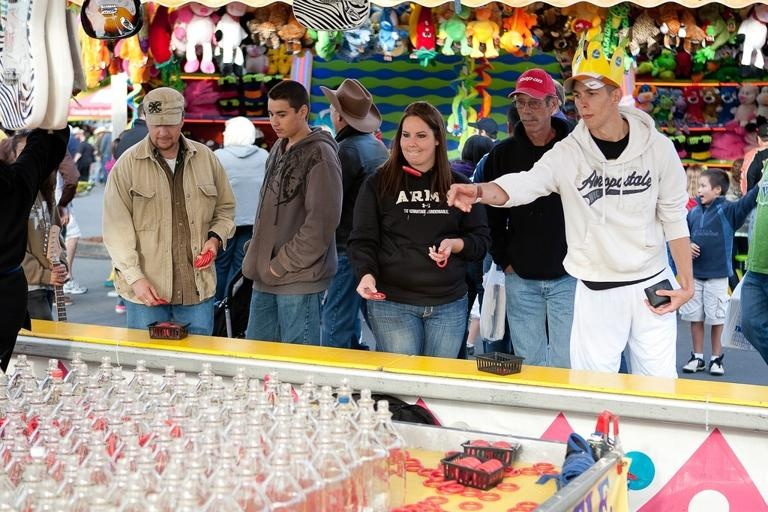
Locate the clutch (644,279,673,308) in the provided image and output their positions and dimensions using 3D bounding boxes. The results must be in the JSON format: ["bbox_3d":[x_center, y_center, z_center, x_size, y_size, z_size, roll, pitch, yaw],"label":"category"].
[{"bbox_3d":[1.398,0.196,4.064,0.142,0.134,0.086,-3,12,-16],"label":"clutch"}]

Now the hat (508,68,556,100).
[{"bbox_3d":[0.916,-1.021,4.789,0.181,0.137,0.263,7,9,37],"label":"hat"}]

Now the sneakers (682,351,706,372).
[{"bbox_3d":[2.644,0.918,6.903,0.297,0.155,0.103,5,-6,-38],"label":"sneakers"}]

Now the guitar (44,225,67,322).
[{"bbox_3d":[-1.961,0.142,4.823,0.088,0.655,0.078,-4,22,-6],"label":"guitar"}]

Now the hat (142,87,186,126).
[{"bbox_3d":[-1.319,-0.911,4.813,0.249,0.138,0.362,0,-8,-18],"label":"hat"}]

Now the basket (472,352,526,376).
[{"bbox_3d":[0.549,0.511,3.852,0.217,0.085,0.114,2,12,9],"label":"basket"}]

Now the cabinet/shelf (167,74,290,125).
[{"bbox_3d":[-1.719,-1.794,9.115,1.387,0.519,0.425,9,10,35],"label":"cabinet/shelf"}]

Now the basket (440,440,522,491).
[{"bbox_3d":[0.392,0.835,3.270,0.162,0.070,0.225,3,4,25],"label":"basket"}]
